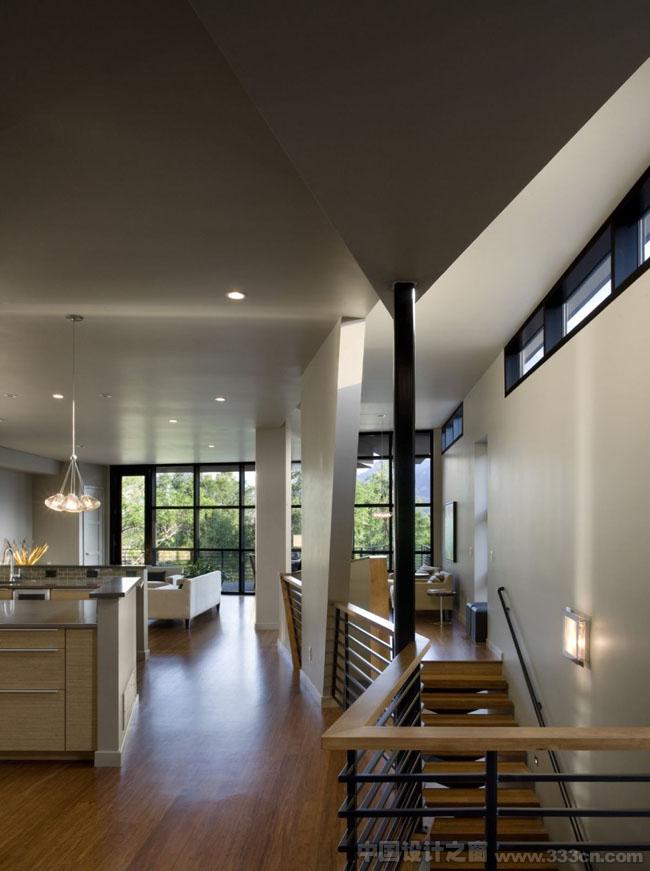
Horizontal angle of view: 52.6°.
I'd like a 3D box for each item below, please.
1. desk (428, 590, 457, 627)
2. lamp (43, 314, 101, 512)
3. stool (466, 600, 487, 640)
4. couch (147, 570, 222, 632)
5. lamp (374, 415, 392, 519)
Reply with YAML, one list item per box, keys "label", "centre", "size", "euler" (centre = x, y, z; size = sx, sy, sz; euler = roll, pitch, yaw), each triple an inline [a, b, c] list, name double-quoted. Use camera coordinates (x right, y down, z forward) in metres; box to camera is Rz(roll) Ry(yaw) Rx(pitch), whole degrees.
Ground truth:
- label: "desk"
  centre: [1.803, 2.590, 10.085]
  size: [0.398, 0.529, 1.097]
  euler: [-2, -6, 11]
- label: "lamp"
  centre: [-2.117, -0.179, 5.542]
  size: [0.467, 1.681, 0.480]
  euler: [1, 0, 19]
- label: "stool"
  centre: [1.959, 2.377, 8.468]
  size: [0.232, 0.348, 0.470]
  euler: [0, -4, 1]
- label: "couch"
  centre: [-2.241, 2.543, 10.342]
  size: [1.016, 0.748, 2.694]
  euler: [0, -6, -6]
- label: "lamp"
  centre: [1.233, 0.754, 13.037]
  size: [0.207, 1.628, 0.275]
  euler: [0, -5, -10]
